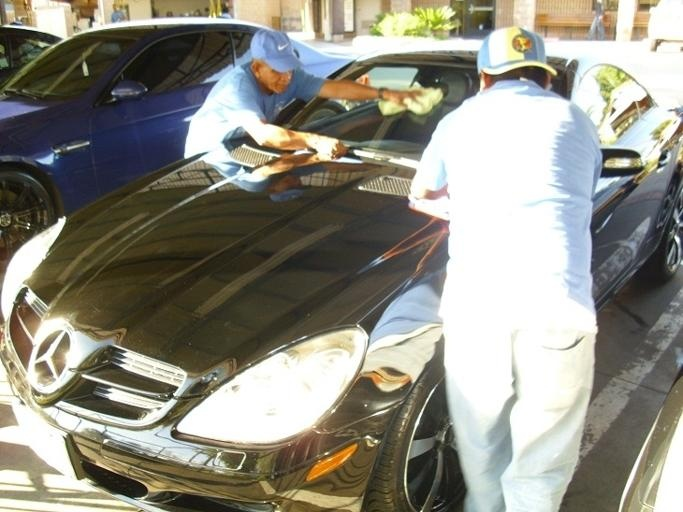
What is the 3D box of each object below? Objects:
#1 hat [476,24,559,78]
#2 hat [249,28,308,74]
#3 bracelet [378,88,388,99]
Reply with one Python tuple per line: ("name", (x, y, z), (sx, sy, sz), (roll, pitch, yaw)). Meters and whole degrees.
("hat", (0.639, -0.806, 1.971), (0.208, 0.123, 0.250), (-12, 31, -12))
("hat", (-0.419, -1.329, 3.337), (0.340, 0.158, 0.235), (32, 58, 16))
("bracelet", (0.275, -1.075, 3.423), (0.081, 0.052, 0.075), (-1, 2, 4))
